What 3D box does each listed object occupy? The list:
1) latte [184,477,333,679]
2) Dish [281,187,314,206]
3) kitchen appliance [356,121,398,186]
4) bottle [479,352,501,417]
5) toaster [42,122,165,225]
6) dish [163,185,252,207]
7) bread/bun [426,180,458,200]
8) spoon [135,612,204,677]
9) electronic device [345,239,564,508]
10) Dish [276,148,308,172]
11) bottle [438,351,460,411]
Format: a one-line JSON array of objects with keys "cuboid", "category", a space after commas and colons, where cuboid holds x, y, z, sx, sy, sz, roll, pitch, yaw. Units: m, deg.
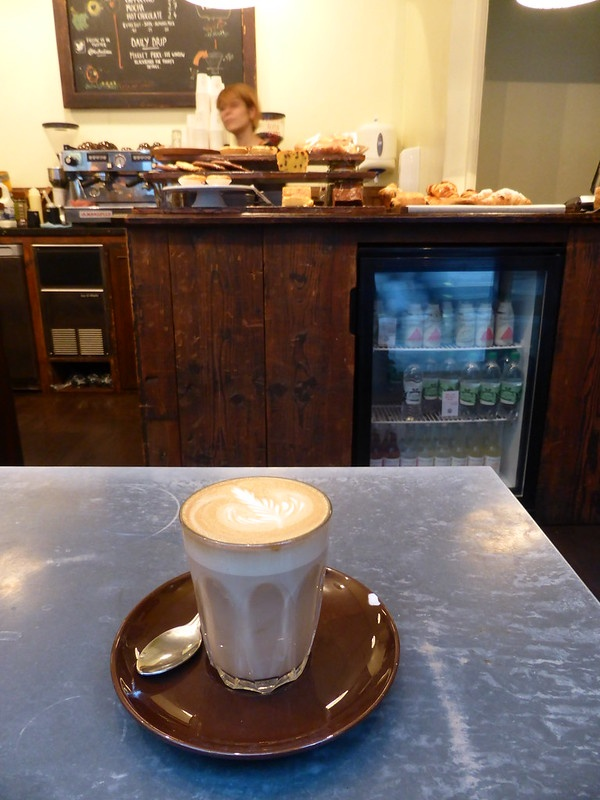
[{"cuboid": [-0.027, 0.118, 0.453, 0.106, 0.120, 0.114, 1, 13, -17], "category": "latte"}, {"cuboid": [-0.001, -0.699, 2.097, 0.107, 0.071, 0.102, 0, 32, -4], "category": "Dish"}, {"cuboid": [0.445, -1.404, 3.444, 0.223, 0.314, 0.177, -3, 18, -4], "category": "kitchen appliance"}, {"cuboid": [0.673, -0.043, 2.143, 0.072, 0.230, 0.071, 0, 13, 0], "category": "bottle"}, {"cuboid": [-1.130, -1.317, 3.582, 0.592, 0.522, 0.304, -4, 23, -13], "category": "toaster"}, {"cuboid": [-0.302, -0.678, 2.054, 0.279, 0.080, 0.734, -3, 20, -4], "category": "dish"}, {"cuboid": [0.505, -0.725, 2.098, 0.078, 0.033, 0.103, 12, 36, 33], "category": "bread/bun"}, {"cuboid": [-0.093, 0.174, 0.440, 0.040, 0.024, 0.048, -1, 11, -15], "category": "spoon"}, {"cuboid": [0.504, -0.132, 2.108, 0.577, 0.796, 0.404, 0, 15, -10], "category": "electronic device"}, {"cuboid": [-0.026, -0.845, 2.169, 0.090, 0.060, 0.078, 26, 52, 25], "category": "Dish"}, {"cuboid": [0.541, -0.035, 2.152, 0.082, 0.258, 0.082, 4, -20, 1], "category": "bottle"}]
